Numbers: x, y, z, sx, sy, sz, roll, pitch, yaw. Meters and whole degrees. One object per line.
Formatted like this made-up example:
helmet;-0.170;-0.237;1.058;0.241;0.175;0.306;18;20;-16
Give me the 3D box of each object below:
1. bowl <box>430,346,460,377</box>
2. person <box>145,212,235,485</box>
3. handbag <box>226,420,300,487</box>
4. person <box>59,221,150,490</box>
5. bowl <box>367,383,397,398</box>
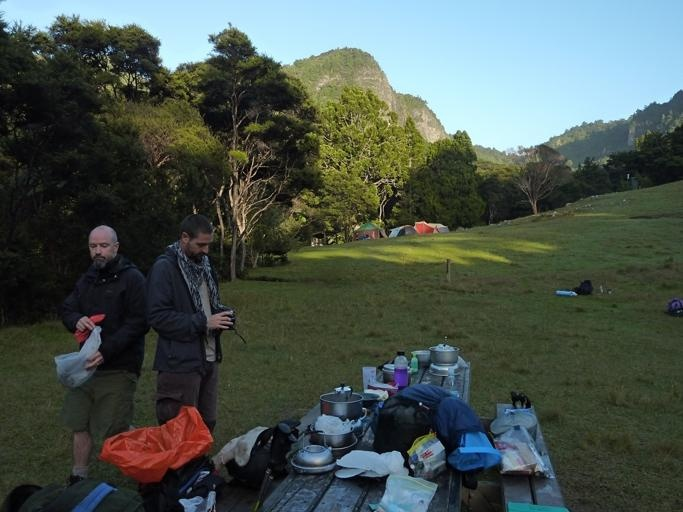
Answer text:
bowl;1.437;1.460;7.221;0.361;0.372;0.379;-1;1;0
person;-1.647;0.797;5.597;0.882;2.501;0.724;-5;5;-27
handbag;-0.803;2.131;5.364;0.336;0.816;0.632;34;-27;-30
person;-2.706;1.036;5.863;0.956;2.754;0.626;-4;4;-20
bowl;0.521;1.647;6.373;0.365;0.128;0.258;7;-7;-42
